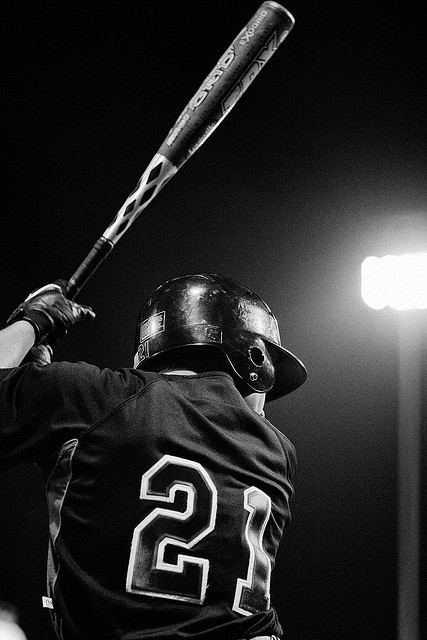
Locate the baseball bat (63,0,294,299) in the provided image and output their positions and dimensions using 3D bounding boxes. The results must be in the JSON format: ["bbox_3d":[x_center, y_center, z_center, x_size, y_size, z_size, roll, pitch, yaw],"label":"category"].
[{"bbox_3d":[-0.133,-0.497,2.719,0.139,0.145,1.293,44,-87,-14],"label":"baseball bat"}]
